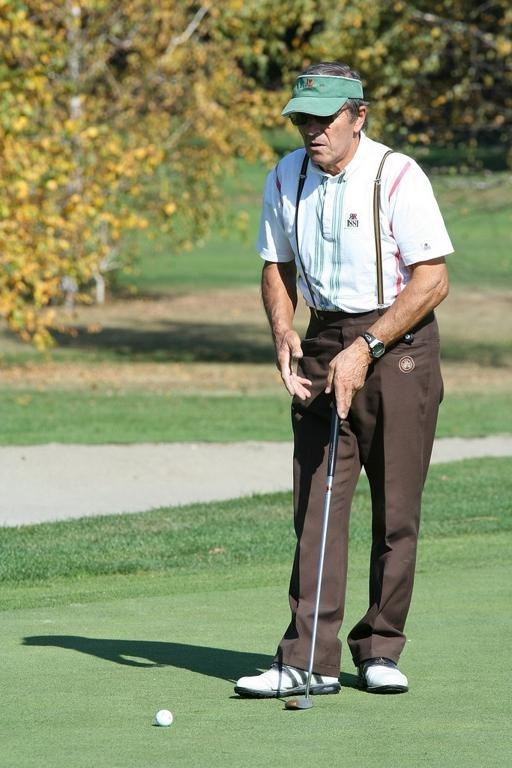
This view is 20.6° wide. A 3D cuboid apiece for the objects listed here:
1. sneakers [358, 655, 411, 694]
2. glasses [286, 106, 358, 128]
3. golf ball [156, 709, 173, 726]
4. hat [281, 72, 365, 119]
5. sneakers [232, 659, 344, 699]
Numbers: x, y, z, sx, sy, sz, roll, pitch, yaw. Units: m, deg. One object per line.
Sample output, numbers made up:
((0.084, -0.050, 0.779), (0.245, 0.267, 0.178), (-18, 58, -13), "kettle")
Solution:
((0.390, 0.911, 4.411), (0.112, 0.088, 0.301), (-3, 3, -8), "sneakers")
((0.214, -0.839, 4.410), (0.220, 0.070, 0.109), (-2, 3, 0), "glasses")
((-0.260, 0.928, 3.938), (0.045, 0.044, 0.035), (-10, 55, -20), "golf ball")
((0.209, -0.907, 4.407), (0.146, 0.076, 0.213), (6, 14, 36), "hat")
((0.090, 0.908, 4.393), (0.341, 0.166, 0.115), (5, -10, -15), "sneakers")
